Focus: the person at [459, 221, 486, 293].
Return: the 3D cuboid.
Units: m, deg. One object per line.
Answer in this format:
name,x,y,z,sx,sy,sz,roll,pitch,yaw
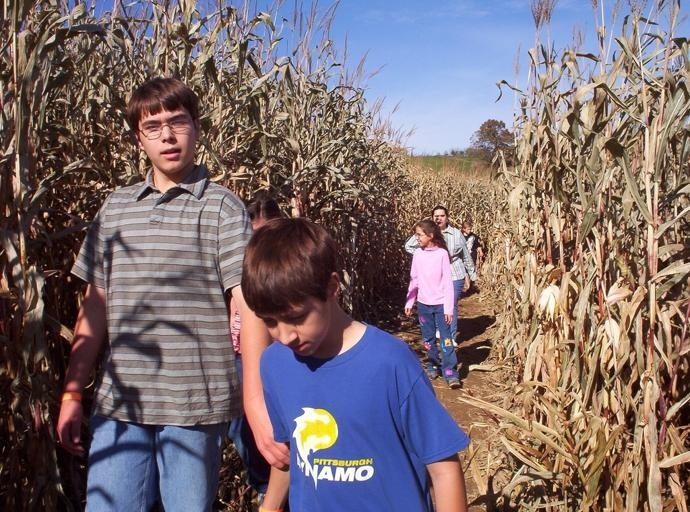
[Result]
person,2.186,0.025,9.187,0.410,1.314,0.362,-6,-16,7
